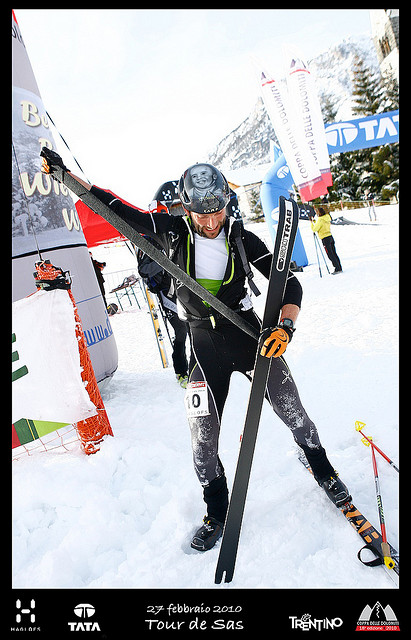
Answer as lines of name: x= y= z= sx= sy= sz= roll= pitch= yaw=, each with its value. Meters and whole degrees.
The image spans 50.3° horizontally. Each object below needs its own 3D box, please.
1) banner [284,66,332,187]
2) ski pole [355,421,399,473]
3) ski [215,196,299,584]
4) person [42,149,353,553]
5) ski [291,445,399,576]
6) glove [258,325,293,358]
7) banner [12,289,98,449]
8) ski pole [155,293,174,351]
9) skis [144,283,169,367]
banner: x=1.926 y=-4.234 z=8.624 sx=0.538 sy=2.695 sz=0.134 roll=2 pitch=-25 yaw=-2
ski pole: x=1.077 y=0.795 z=2.781 sx=0.083 sy=0.018 sz=0.338 roll=-15 pitch=42 yaw=-14
ski: x=0.294 y=0.481 z=2.546 sx=0.161 sy=2.553 sz=0.183 roll=12 pitch=-10 yaw=4
person: x=0.047 y=0.158 z=2.310 sx=1.250 sy=2.334 sz=1.024 roll=-13 pitch=8 yaw=-9
ski: x=0.727 y=0.961 z=2.600 sx=0.137 sy=0.075 sz=1.347 roll=-36 pitch=21 yaw=-1
glove: x=0.354 y=0.099 z=2.261 sx=0.180 sy=0.133 sz=0.072 roll=-54 pitch=13 yaw=-15
banner: x=-1.115 y=0.275 z=3.029 sx=0.540 sy=0.931 sz=0.270 roll=-13 pitch=12 yaw=-26
ski pole: x=-0.500 y=0.030 z=5.304 sx=0.079 sy=0.815 sz=0.052 roll=-14 pitch=15 yaw=-10
skis: x=-0.608 y=0.191 z=5.614 sx=0.146 sy=1.473 sz=0.094 roll=-11 pitch=7 yaw=-1
